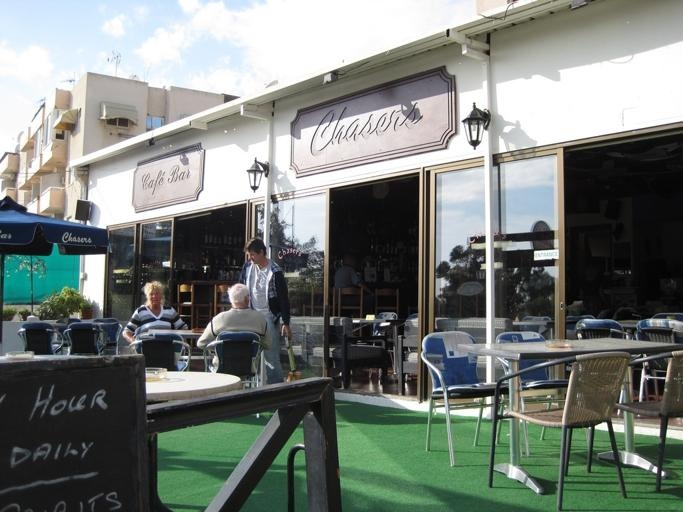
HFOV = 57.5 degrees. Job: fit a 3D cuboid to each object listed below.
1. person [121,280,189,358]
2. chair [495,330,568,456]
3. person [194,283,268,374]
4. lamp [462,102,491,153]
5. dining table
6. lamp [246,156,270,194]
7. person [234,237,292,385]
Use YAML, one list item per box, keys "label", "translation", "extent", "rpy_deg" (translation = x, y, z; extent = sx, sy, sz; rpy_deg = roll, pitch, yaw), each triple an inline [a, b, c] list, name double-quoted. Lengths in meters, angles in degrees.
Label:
- label: "person"
  translation: [-2.076, 0.597, 6.837]
  extent: [0.426, 0.633, 0.826]
  rpy_deg: [-2, -5, 24]
- label: "chair"
  translation: [1.725, 1.137, 5.439]
  extent: [0.681, 1.103, 0.695]
  rpy_deg: [0, 7, 24]
- label: "person"
  translation: [-1.024, 0.575, 5.972]
  extent: [0.676, 0.616, 0.343]
  rpy_deg: [1, -4, -14]
- label: "lamp"
  translation: [1.497, -1.440, 6.868]
  extent: [0.305, 0.452, 0.290]
  rpy_deg: [-2, -5, 17]
- label: "dining table"
  translation: [1.725, 1.455, 4.817]
  extent: [1.788, 1.318, 0.985]
  rpy_deg: [2, -6, -31]
- label: "lamp"
  translation: [-1.247, -1.215, 9.143]
  extent: [0.272, 0.476, 0.413]
  rpy_deg: [3, -5, -35]
- label: "person"
  translation: [-0.896, 0.784, 7.249]
  extent: [0.688, 2.018, 0.591]
  rpy_deg: [-1, 12, 11]
